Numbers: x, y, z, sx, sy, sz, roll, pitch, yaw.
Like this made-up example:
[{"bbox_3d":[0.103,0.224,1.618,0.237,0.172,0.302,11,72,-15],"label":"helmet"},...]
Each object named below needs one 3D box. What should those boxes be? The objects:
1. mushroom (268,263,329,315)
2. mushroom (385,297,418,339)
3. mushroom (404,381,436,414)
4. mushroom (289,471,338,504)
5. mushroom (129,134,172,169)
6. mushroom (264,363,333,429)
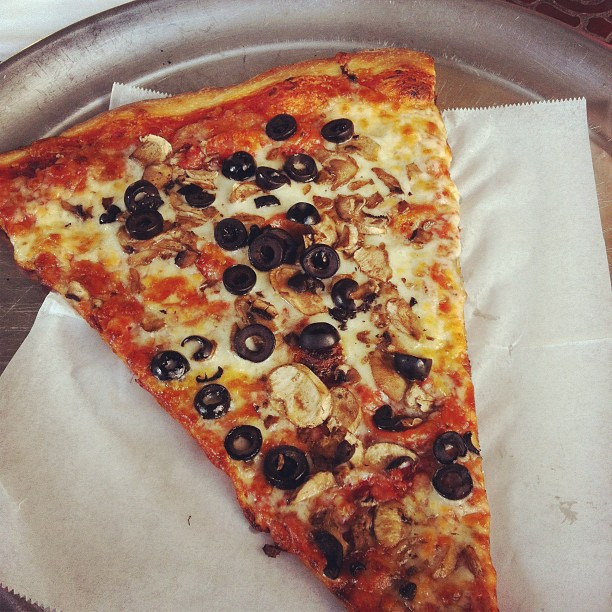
[{"bbox_3d":[-0.047,-0.071,3.916,0.157,0.050,0.308,-34,81,-5],"label":"mushroom"},{"bbox_3d":[0.462,0.063,3.912,0.164,0.195,0.041,-14,106,4],"label":"mushroom"},{"bbox_3d":[0.529,0.442,3.774,0.117,0.031,0.175,-44,82,-7],"label":"mushroom"},{"bbox_3d":[0.018,0.817,3.598,0.238,0.027,0.083,-26,81,-4],"label":"mushroom"},{"bbox_3d":[-0.811,-0.817,4.231,0.240,0.058,0.169,2,64,4],"label":"mushroom"},{"bbox_3d":[-0.045,0.411,3.675,0.270,0.099,0.333,-40,73,-1],"label":"mushroom"}]
